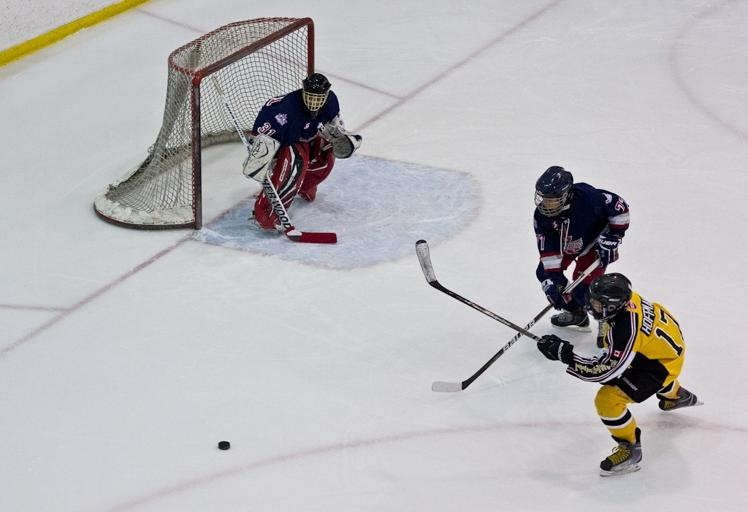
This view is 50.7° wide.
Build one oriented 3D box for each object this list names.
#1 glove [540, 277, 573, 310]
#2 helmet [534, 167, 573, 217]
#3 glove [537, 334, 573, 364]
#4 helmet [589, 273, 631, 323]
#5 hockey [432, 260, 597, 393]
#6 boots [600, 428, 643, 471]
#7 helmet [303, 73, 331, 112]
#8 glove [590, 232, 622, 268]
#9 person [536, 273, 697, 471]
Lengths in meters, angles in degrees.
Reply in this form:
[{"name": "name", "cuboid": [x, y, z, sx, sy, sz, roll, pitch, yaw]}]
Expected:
[{"name": "glove", "cuboid": [0.932, 0.199, 4.110, 0.114, 0.182, 0.078, -43, 10, -26]}, {"name": "helmet", "cuboid": [0.889, -0.307, 3.898, 0.176, 0.232, 0.133, -36, 43, -23]}, {"name": "glove", "cuboid": [0.851, 0.448, 3.743, 0.041, 0.107, 0.143, -64, 5, -12]}, {"name": "helmet", "cuboid": [1.019, 0.180, 3.423, 0.178, 0.191, 0.142, -28, 40, -14]}, {"name": "hockey", "cuboid": [0.729, 0.389, 4.055, 1.028, 0.105, 0.111, -35, 20, -18]}, {"name": "boots", "cuboid": [1.090, 0.869, 3.502, 0.242, 0.177, 0.078, -11, 10, -16]}, {"name": "helmet", "cuboid": [-0.338, -0.968, 4.608, 0.171, 0.177, 0.193, 14, 33, 6]}, {"name": "glove", "cuboid": [1.179, -0.035, 4.003, 0.170, 0.174, 0.074, -48, 34, -19]}, {"name": "person", "cuboid": [1.174, 0.491, 3.630, 0.548, 0.820, 0.681, 4, 20, 38]}]
